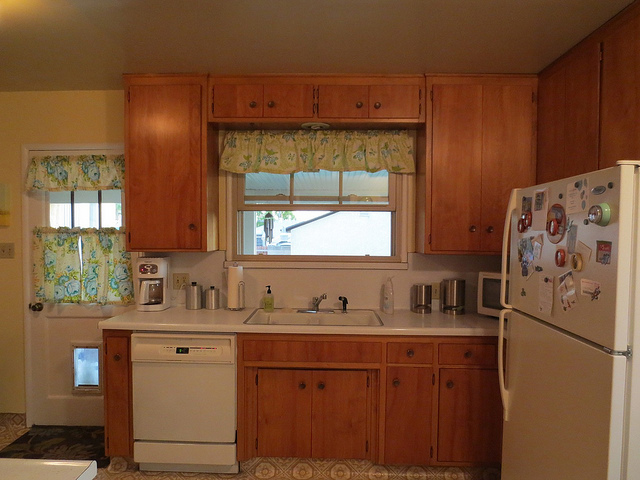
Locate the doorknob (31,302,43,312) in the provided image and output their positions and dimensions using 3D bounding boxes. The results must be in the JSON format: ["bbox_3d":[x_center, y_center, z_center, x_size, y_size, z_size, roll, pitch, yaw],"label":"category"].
[{"bbox_3d":[-2.315,0.548,4.839,0.079,0.080,0.044,1,-1,-26],"label":"doorknob"}]

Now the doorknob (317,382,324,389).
[{"bbox_3d":[0.006,1.035,4.210,0.033,0.036,0.033,2,-13,4],"label":"doorknob"}]

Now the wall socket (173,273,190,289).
[{"bbox_3d":[-1.117,0.327,4.773,0.113,0.126,0.012,0,3,1],"label":"wall socket"}]

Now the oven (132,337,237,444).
[{"bbox_3d":[-0.959,1.056,4.514,0.837,1.005,0.671,0,-4,1],"label":"oven"}]

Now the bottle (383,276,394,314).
[{"bbox_3d":[0.534,0.435,4.588,0.079,0.264,0.059,0,-1,13],"label":"bottle"}]

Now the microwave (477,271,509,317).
[{"bbox_3d":[1.325,0.386,4.453,0.243,0.337,0.195,10,22,37],"label":"microwave"}]

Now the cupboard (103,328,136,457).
[{"bbox_3d":[-1.427,1.107,4.330,0.237,0.906,0.262,2,4,-7],"label":"cupboard"}]

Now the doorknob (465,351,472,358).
[{"bbox_3d":[1.043,0.803,4.167,0.040,0.045,0.015,-1,-9,-1],"label":"doorknob"}]
